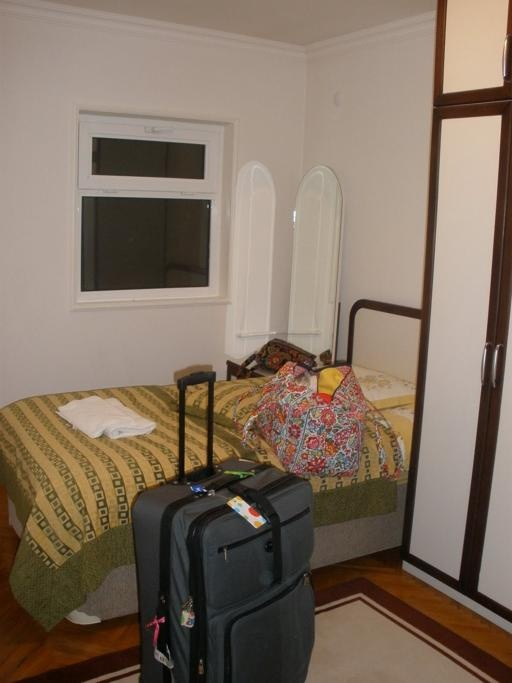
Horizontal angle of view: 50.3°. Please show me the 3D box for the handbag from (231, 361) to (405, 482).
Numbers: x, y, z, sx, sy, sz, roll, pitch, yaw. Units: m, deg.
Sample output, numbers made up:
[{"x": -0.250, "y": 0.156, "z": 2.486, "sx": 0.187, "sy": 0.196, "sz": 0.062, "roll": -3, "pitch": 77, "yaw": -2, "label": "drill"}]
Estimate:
[{"x": 0.276, "y": 0.289, "z": 2.046, "sx": 0.434, "sy": 0.232, "sz": 0.564, "roll": 0, "pitch": 11, "yaw": -12, "label": "handbag"}]

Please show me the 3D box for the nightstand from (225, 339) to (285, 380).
[{"x": -0.023, "y": 0.108, "z": 3.608, "sx": 0.297, "sy": 0.453, "sz": 0.254, "roll": -2, "pitch": 9, "yaw": -33, "label": "nightstand"}]

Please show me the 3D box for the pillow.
[{"x": 0.180, "y": 0.270, "z": 2.618, "sx": 0.445, "sy": 0.119, "sz": 0.489, "roll": -7, "pitch": 16, "yaw": -27, "label": "pillow"}]
